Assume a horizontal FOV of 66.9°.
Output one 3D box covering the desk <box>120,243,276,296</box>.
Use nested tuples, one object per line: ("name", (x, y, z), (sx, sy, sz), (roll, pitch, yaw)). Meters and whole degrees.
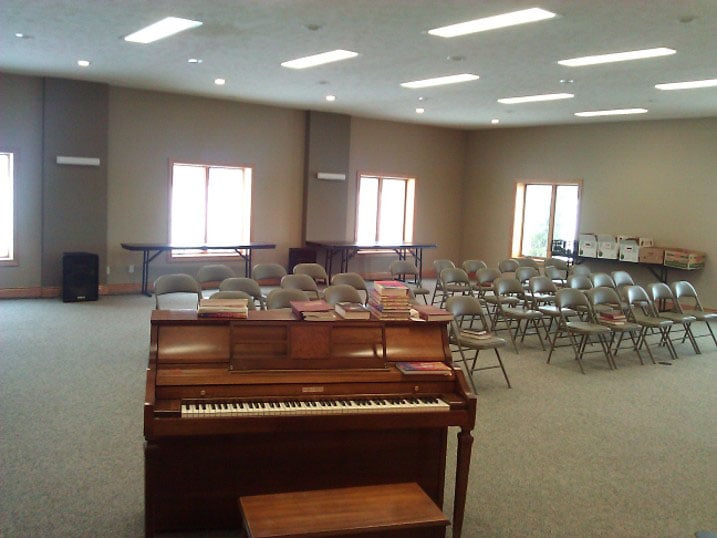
("desk", (-3.203, 0.014, 11.036), (2.957, 0.947, 0.899), (0, -7, -15))

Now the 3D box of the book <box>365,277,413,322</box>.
("book", (0.249, 0.227, 4.068), (0.255, 0.184, 0.375), (0, 5, -12))

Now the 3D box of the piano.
("piano", (-0.429, 1.015, 4.127), (2.661, 1.887, 1.442), (0, 5, -12))
